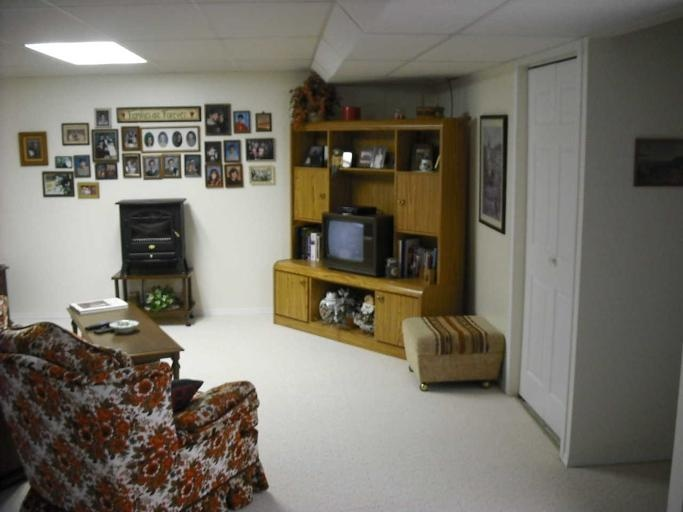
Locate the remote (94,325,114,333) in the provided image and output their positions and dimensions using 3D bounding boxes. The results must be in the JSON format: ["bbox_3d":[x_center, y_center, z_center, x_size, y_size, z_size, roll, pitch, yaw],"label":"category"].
[{"bbox_3d":[-1.896,0.589,4.159,0.056,0.027,0.110,11,15,34],"label":"remote"}]

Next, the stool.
[{"bbox_3d":[0.973,0.817,4.612,0.603,0.414,0.624,-1,6,-3],"label":"stool"}]

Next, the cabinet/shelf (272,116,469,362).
[{"bbox_3d":[0.351,-0.146,5.376,2.195,2.640,0.810,8,11,43],"label":"cabinet/shelf"}]

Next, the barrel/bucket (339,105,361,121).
[{"bbox_3d":[0.094,-1.562,5.692,0.203,0.150,0.202,1,4,0],"label":"barrel/bucket"}]

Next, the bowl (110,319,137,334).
[{"bbox_3d":[-1.731,0.566,4.150,0.126,0.036,0.133,1,12,0],"label":"bowl"}]

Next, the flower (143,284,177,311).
[{"bbox_3d":[-2.117,0.516,6.156,0.300,0.161,0.312,7,22,19],"label":"flower"}]

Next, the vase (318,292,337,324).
[{"bbox_3d":[-0.130,0.547,5.649,0.273,0.367,0.280,-2,5,-16],"label":"vase"}]

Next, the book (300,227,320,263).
[{"bbox_3d":[-0.342,-0.147,6.279,0.312,0.449,0.438,2,3,16],"label":"book"}]

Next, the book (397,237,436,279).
[{"bbox_3d":[0.772,0.031,5.261,0.277,0.392,0.510,-9,15,-32],"label":"book"}]

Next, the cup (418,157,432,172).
[{"bbox_3d":[0.816,-0.903,5.165,0.137,0.111,0.112,0,10,3],"label":"cup"}]
